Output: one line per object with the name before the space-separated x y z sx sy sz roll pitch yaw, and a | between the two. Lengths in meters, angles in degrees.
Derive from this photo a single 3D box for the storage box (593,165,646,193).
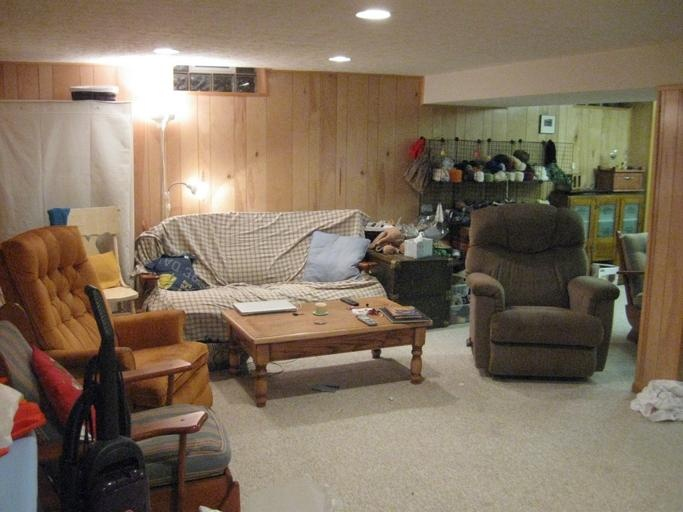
storage box | 3.645 -0.967 7.100 0.574 0.335 0.428 -1 5 -6

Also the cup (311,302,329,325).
cup | -0.180 0.413 3.937 0.143 0.081 0.127 0 4 -22

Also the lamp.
lamp | -1.555 -0.853 5.102 0.430 0.979 0.237 -7 14 -15

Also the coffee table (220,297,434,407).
coffee table | -0.124 0.653 4.027 1.328 0.601 0.675 -7 12 -20

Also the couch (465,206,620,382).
couch | 1.526 0.245 4.351 1.143 1.158 1.193 -3 13 -1

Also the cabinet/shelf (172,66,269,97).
cabinet/shelf | -1.186 -1.699 5.250 0.872 0.286 0.094 -6 13 -17

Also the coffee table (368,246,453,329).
coffee table | 0.551 0.290 5.499 0.658 0.609 0.995 -2 8 -27
